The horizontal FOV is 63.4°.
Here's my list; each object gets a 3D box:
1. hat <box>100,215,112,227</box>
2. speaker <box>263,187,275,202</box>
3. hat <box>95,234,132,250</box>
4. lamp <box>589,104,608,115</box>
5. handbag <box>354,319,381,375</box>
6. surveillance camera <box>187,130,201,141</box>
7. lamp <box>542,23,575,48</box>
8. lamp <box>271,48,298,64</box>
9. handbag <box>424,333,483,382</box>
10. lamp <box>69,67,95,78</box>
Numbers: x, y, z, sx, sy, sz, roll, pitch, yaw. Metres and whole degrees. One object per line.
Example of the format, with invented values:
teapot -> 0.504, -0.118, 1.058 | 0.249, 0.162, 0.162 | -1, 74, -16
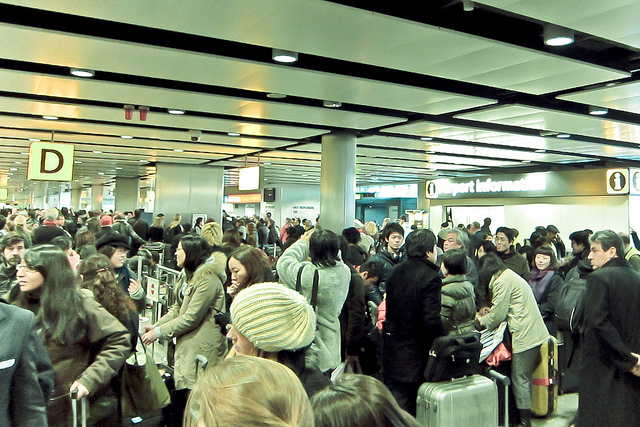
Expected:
hat -> -4.309, 0.151, 10.408 | 0.245, 0.252, 0.293 | 7, 6, -21
speaker -> -2.476, -0.928, 25.047 | 0.742, 0.678, 0.386 | -1, -8, 11
hat -> -2.339, 0.304, 5.917 | 0.313, 0.129, 0.218 | -4, -6, -5
lamp -> 4.772, -1.775, 8.931 | 0.247, 0.079, 0.232 | 3, -5, -23
handbag -> 0.579, 1.529, 5.885 | 0.198, 0.526, 0.414 | -2, -15, 26
surveillance camera -> -2.662, -1.656, 10.951 | 0.255, 0.172, 0.201 | -2, -1, 15
lamp -> 2.694, -2.038, 5.867 | 0.276, 0.176, 0.254 | 1, 0, -39
lamp -> -0.453, -2.015, 6.600 | 0.300, 0.089, 0.299 | 0, 0, -11
handbag -> 1.349, 1.458, 5.246 | 0.607, 0.502, 0.328 | 1, 2, -21
lamp -> -3.417, -2.034, 7.436 | 0.319, 0.109, 0.494 | 0, 0, -23
